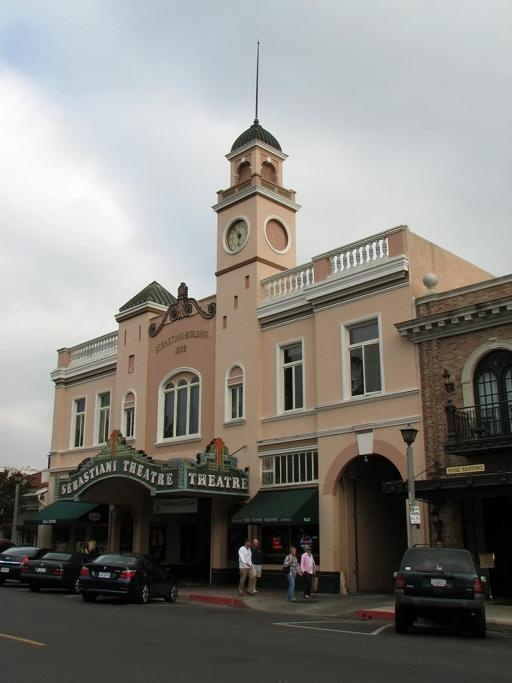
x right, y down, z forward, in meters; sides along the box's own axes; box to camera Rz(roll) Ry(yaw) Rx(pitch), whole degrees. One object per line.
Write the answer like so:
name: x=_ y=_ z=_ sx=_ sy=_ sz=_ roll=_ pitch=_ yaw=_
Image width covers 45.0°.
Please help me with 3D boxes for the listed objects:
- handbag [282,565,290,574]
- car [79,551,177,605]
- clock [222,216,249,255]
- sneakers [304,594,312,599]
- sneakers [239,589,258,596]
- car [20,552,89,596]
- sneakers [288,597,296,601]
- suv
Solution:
handbag: x=0.844 y=6.381 z=17.249 sx=0.163 sy=0.243 sz=0.336 roll=-1 pitch=-15 yaw=-3
car: x=-3.063 y=6.123 z=16.080 sx=1.202 sy=0.978 sz=2.863 roll=-5 pitch=-18 yaw=19
clock: x=-0.845 y=-4.605 z=26.835 sx=0.185 sy=1.610 sz=1.403 roll=23 pitch=-41 yaw=-31
sneakers: x=1.482 y=7.402 z=17.935 sx=0.097 sy=0.120 sz=0.279 roll=10 pitch=-17 yaw=-33
sneakers: x=-0.295 y=7.930 z=19.473 sx=0.230 sy=0.292 sz=0.683 roll=18 pitch=-33 yaw=-42
car: x=-6.046 y=6.875 z=18.395 sx=1.302 sy=0.761 sz=2.416 roll=0 pitch=-14 yaw=7
sneakers: x=0.985 y=7.225 z=17.301 sx=0.119 sy=0.146 sz=0.345 roll=8 pitch=-30 yaw=-18
suv: x=3.130 y=4.219 z=10.558 sx=1.077 sy=0.999 sz=2.083 roll=-4 pitch=-22 yaw=19
